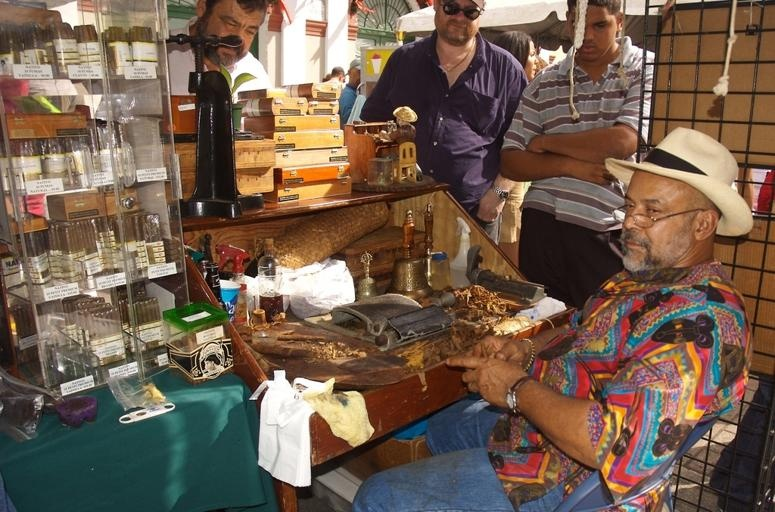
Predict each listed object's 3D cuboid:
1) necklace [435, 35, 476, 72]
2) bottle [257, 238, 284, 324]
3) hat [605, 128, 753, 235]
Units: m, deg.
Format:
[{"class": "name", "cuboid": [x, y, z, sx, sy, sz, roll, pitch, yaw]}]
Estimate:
[{"class": "necklace", "cuboid": [0.543, -1.642, 4.099, 0.259, 0.290, 0.337, 1, 15, 2]}, {"class": "bottle", "cuboid": [-0.682, 0.131, 2.853, 0.148, 0.438, 0.245, -8, 15, -14]}, {"class": "hat", "cuboid": [1.300, -0.286, 2.133, 0.540, 0.211, 0.460, 28, -8, -4]}]
